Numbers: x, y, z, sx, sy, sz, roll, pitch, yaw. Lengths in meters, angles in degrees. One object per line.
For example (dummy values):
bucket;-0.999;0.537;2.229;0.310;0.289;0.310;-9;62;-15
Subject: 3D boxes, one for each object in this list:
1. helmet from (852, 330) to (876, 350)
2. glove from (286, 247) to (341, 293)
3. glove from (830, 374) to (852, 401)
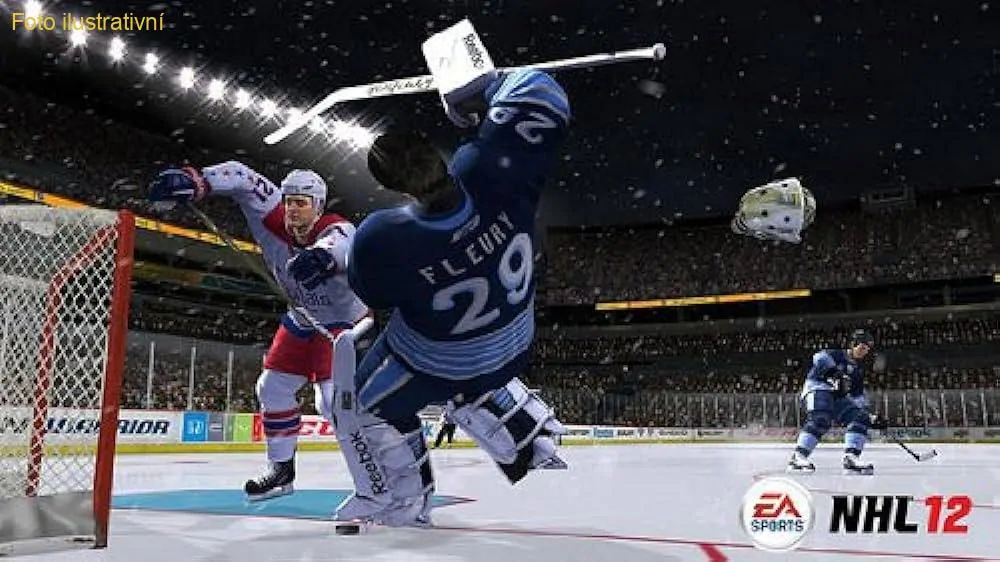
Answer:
helmet;7.752;1.285;18.082;0.369;0.403;0.366;-2;-10;6
glove;-2.998;-0.182;13.739;0.811;0.583;0.377;33;-3;-6
glove;7.180;2.221;17.904;0.370;0.267;0.523;-34;13;27
